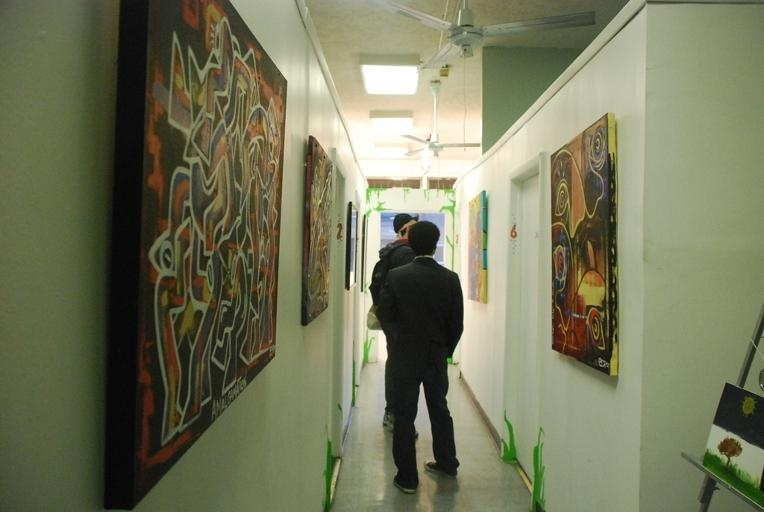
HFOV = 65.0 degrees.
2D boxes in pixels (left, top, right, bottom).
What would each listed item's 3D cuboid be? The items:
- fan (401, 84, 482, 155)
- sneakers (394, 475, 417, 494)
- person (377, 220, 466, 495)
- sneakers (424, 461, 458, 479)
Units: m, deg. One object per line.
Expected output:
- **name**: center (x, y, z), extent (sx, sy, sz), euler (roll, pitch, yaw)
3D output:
- **fan**: center (0.587, -1.321, 6.329), extent (0.737, 0.797, 0.795), euler (2, 5, -4)
- **sneakers**: center (0.144, 1.335, 3.526), extent (0.144, 0.089, 0.103), euler (4, -5, 4)
- **person**: center (0.245, 0.570, 3.650), extent (0.428, 1.525, 0.433), euler (3, 2, -10)
- **sneakers**: center (0.367, 1.291, 3.723), extent (0.078, 0.091, 0.212), euler (0, 9, -37)
